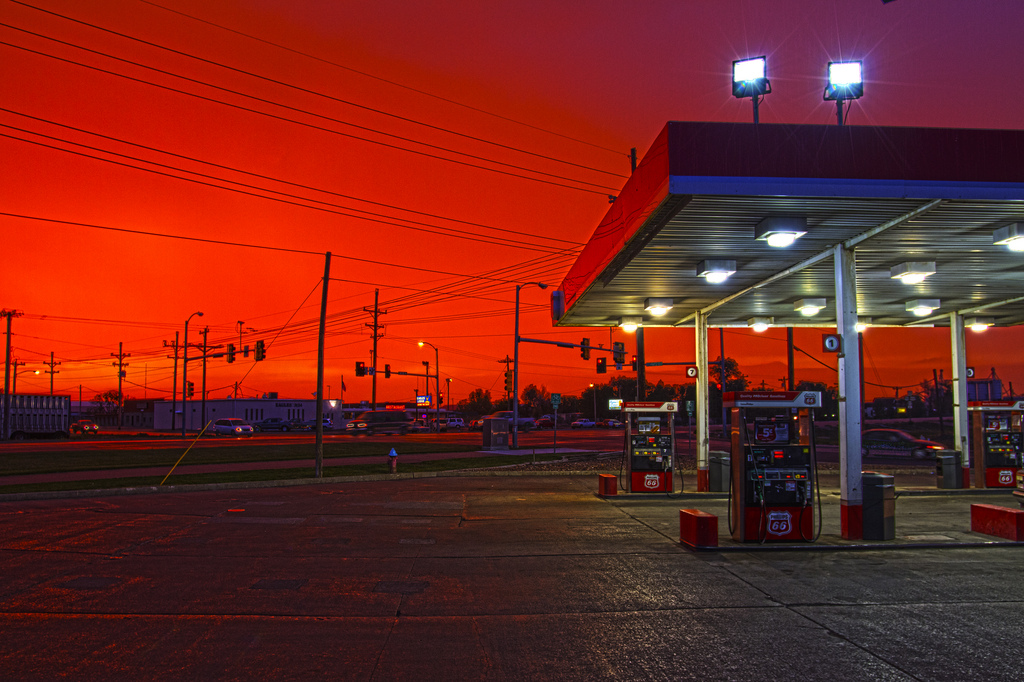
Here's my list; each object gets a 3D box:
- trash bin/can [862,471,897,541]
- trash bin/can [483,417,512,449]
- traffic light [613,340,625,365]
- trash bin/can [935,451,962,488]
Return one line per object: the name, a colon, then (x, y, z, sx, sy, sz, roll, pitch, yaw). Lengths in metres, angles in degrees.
trash bin/can: (7.989, 3.629, 21.575, 0.673, 1.436, 0.419, -1, -10, 14)
trash bin/can: (-0.943, 5.415, 57.706, 1.954, 1.992, 1.135, 5, -8, -44)
traffic light: (5.105, 0.626, 47.211, 0.419, 1.192, 1.042, 2, -10, 0)
trash bin/can: (13.411, 3.948, 30.395, 0.626, 1.170, 0.686, 1, -10, 6)
